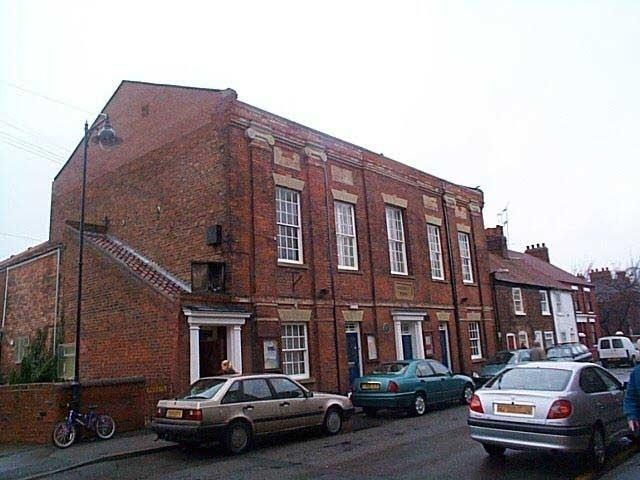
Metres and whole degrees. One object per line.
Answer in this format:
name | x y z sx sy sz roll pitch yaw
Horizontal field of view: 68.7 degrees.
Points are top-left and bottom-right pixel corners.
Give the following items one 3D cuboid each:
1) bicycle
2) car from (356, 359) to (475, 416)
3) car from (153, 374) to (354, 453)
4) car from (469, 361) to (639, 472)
bicycle | -6.419 4.944 12.608 0.790 0.929 1.587 -32 -29 23
car | 3.345 5.099 16.587 4.863 1.865 1.830 3 -10 -39
car | -1.642 4.165 11.998 4.259 1.301 1.977 5 -13 -39
car | 4.507 3.265 8.988 2.868 1.713 1.581 -1 -8 -20
